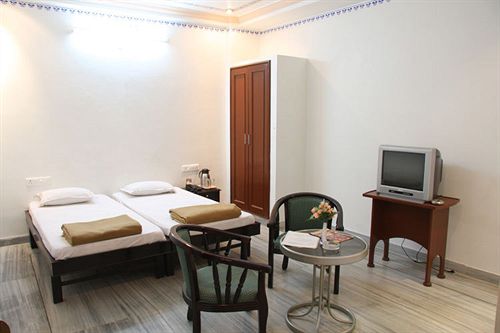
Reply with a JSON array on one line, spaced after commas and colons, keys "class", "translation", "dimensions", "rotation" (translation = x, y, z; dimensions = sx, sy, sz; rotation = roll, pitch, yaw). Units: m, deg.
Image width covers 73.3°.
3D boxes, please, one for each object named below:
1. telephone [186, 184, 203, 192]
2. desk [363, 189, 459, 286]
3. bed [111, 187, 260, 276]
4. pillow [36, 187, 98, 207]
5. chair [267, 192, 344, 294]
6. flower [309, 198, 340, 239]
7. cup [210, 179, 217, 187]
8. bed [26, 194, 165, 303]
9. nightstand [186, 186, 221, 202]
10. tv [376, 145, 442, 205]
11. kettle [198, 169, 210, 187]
[{"class": "telephone", "translation": [-1.040, 0.400, 6.281], "dimensions": [0.166, 0.066, 0.221], "rotation": [-4, 10, -34]}, {"class": "desk", "translation": [2.134, 0.954, 4.594], "dimensions": [0.680, 1.000, 1.013], "rotation": [-4, 7, -40]}, {"class": "bed", "translation": [-1.165, 0.807, 5.105], "dimensions": [0.971, 0.410, 1.777], "rotation": [-6, 13, -40]}, {"class": "pillow", "translation": [-2.882, 0.463, 5.279], "dimensions": [0.528, 0.156, 0.368], "rotation": [-5, 10, -33]}, {"class": "chair", "translation": [0.669, 0.899, 4.222], "dimensions": [0.920, 1.034, 0.825], "rotation": [0, 6, 0]}, {"class": "flower", "translation": [0.832, 0.574, 3.687], "dimensions": [0.235, 0.427, 0.322], "rotation": [5, 12, 30]}, {"class": "cup", "translation": [-0.731, 0.336, 6.706], "dimensions": [0.144, 0.168, 0.141], "rotation": [-1, 8, 0]}, {"class": "bed", "translation": [-2.126, 1.033, 4.648], "dimensions": [1.334, 0.710, 1.911], "rotation": [-9, 13, -39]}, {"class": "nightstand", "translation": [-0.871, 0.454, 6.307], "dimensions": [0.343, 0.413, 0.455], "rotation": [-3, 7, -41]}, {"class": "tv", "translation": [2.259, 0.098, 4.652], "dimensions": [0.613, 0.720, 0.757], "rotation": [-3, 8, -29]}, {"class": "kettle", "translation": [-0.876, 0.194, 6.469], "dimensions": [0.213, 0.331, 0.410], "rotation": [-3, 10, -11]}]
